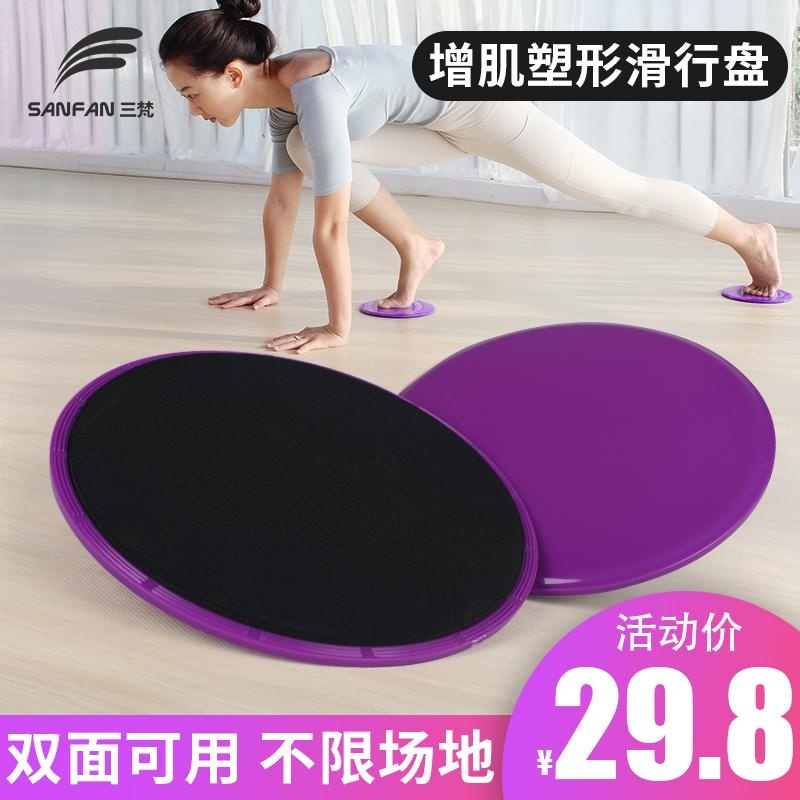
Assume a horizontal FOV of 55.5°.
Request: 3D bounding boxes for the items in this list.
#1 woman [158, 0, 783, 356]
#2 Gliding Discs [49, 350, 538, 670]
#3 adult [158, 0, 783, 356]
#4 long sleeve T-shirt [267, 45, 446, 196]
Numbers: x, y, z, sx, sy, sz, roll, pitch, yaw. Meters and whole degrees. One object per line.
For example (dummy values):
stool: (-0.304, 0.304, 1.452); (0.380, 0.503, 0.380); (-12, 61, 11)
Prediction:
woman: (0.349, -0.525, 1.964); (1.855, 0.650, 0.617); (-2, 18, -19)
Gliding Discs: (-0.126, 0.097, 0.887); (0.566, 0.246, 0.427); (1, 13, 8)
adult: (0.229, -0.544, 1.764); (1.788, 0.367, 0.345); (1, 14, -19)
long sleeve T-shirt: (-0.064, -0.565, 1.539); (0.143, 0.318, 0.374); (11, 18, 38)
